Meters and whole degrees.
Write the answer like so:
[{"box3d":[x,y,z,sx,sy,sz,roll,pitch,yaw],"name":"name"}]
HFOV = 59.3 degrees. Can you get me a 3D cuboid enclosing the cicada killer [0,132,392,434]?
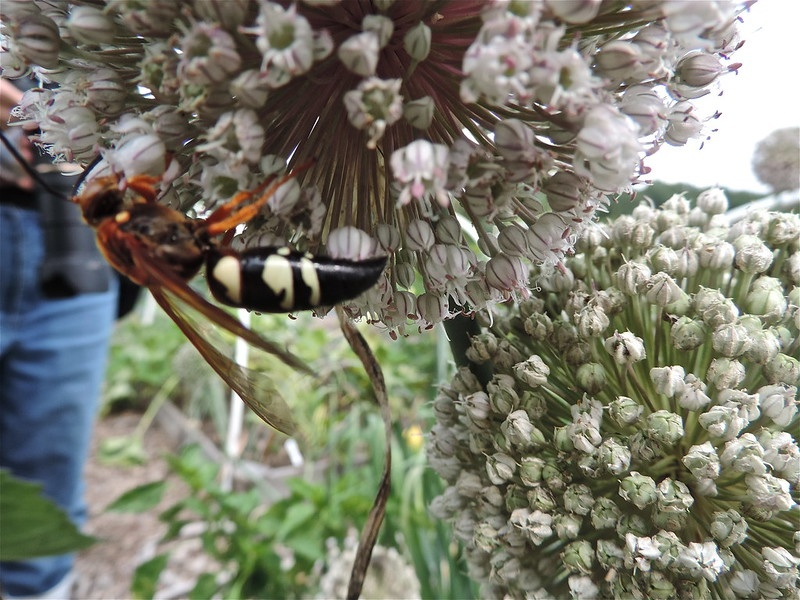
[{"box3d":[-0.274,-0.059,1.315,0.646,0.163,0.438,30,-68,-8],"name":"cicada killer"}]
